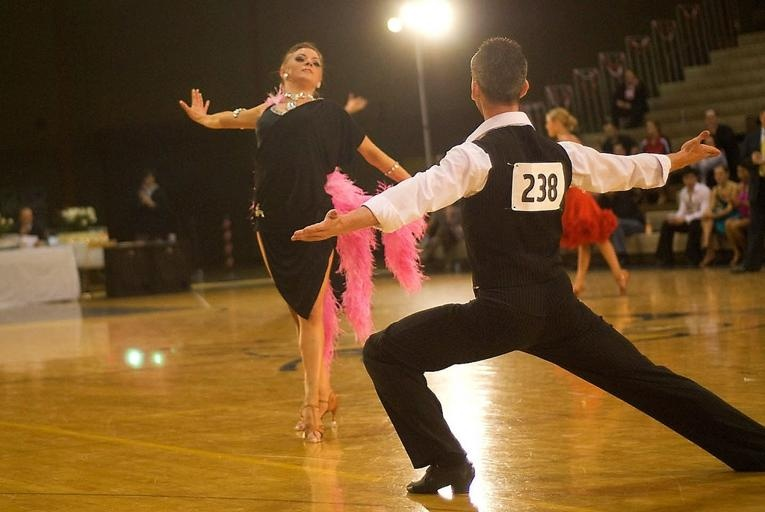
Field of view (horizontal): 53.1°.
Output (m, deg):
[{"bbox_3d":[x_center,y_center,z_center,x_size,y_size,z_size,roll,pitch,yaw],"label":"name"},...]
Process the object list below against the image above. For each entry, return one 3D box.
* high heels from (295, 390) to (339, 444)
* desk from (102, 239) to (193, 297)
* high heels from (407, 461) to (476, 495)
[{"bbox_3d":[-0.348,0.888,4.185,0.114,0.151,0.348,-3,-12,16],"label":"high heels"},{"bbox_3d":[-2.669,0.160,8.772,0.373,0.728,1.267,4,11,35],"label":"desk"},{"bbox_3d":[0.256,0.995,3.452,0.313,0.145,0.114,-3,-2,5],"label":"high heels"}]
